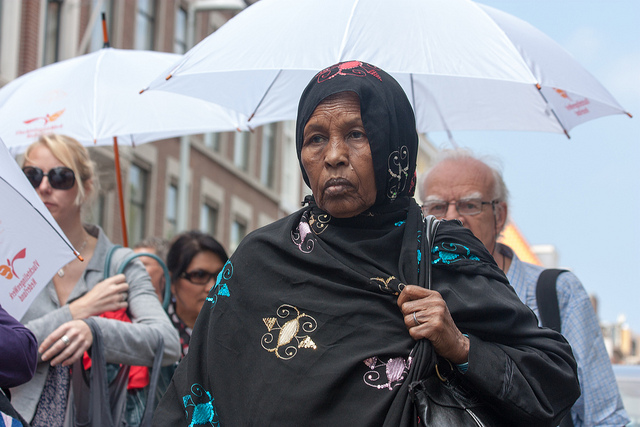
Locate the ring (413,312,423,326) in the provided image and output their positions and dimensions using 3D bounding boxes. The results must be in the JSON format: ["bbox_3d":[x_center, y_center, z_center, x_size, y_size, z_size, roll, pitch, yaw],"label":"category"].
[{"bbox_3d":[0.536,0.571,5.591,0.046,0.053,0.030,22,-38,-30],"label":"ring"}]

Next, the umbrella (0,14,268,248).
[{"bbox_3d":[-1.482,-0.795,8.476,1.902,1.840,1.883,-6,-10,9],"label":"umbrella"}]

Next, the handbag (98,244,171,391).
[{"bbox_3d":[-1.444,0.718,7.666,0.525,0.923,0.955,10,-6,2],"label":"handbag"}]
